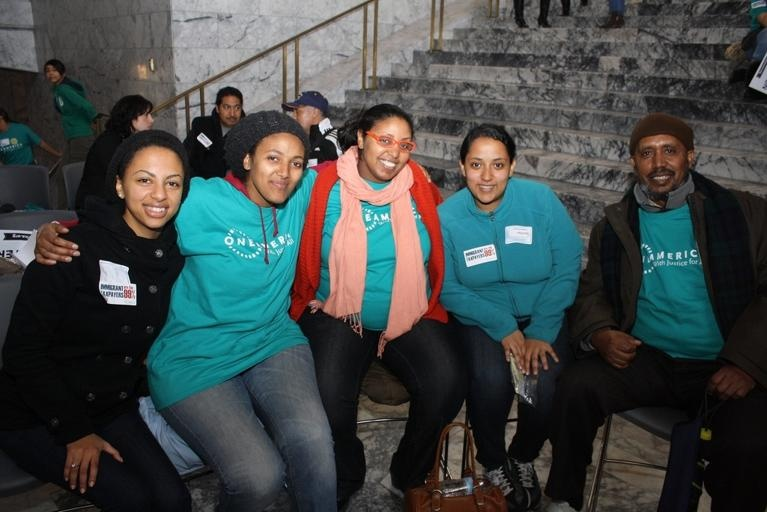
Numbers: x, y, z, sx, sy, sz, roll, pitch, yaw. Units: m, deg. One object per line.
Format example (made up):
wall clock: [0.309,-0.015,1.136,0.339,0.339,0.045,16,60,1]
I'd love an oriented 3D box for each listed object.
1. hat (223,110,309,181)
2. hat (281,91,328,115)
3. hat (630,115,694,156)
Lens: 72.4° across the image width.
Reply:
hat: [-0.642,-0.590,2.865,0.426,0.358,0.309,-23,15,-2]
hat: [-0.819,-1.570,5.486,0.462,0.227,0.287,-2,14,-8]
hat: [1.649,-0.735,3.202,0.428,0.262,0.403,8,14,43]
